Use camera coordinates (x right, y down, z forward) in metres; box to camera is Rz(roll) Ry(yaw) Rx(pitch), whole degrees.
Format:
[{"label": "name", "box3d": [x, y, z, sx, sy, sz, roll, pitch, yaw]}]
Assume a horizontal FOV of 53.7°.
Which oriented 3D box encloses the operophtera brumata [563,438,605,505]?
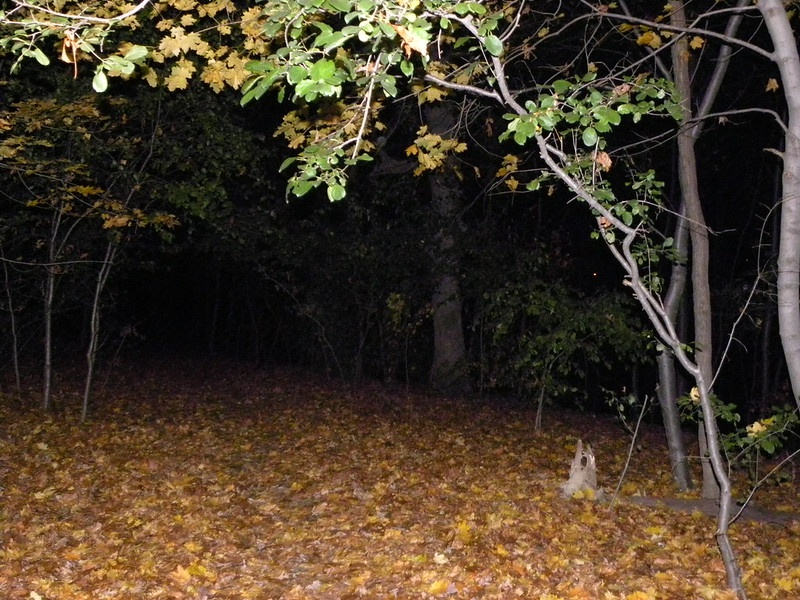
[{"label": "operophtera brumata", "box3d": [2.174, 2.086, 9.462, 0.487, 0.685, 0.467, 5, -22, 7]}]
